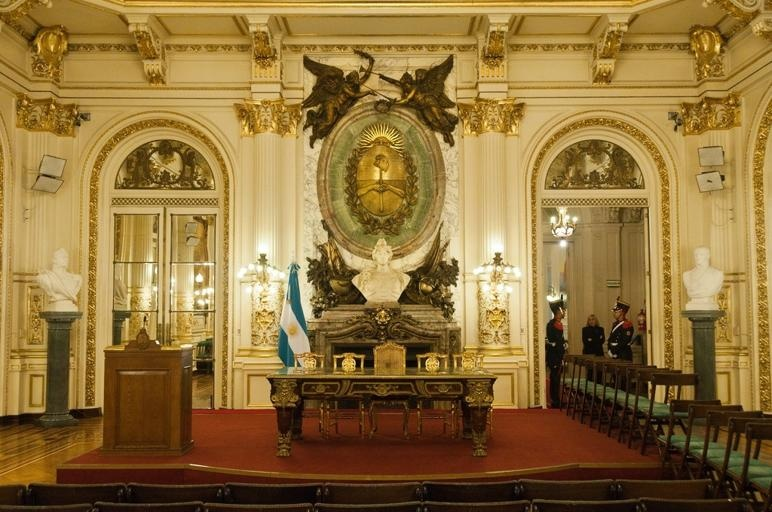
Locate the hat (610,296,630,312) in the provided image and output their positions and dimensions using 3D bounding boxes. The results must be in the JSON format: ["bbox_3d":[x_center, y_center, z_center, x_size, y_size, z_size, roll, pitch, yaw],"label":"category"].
[{"bbox_3d":[5.372,1.105,19.475,0.458,0.355,0.327,-6,3,-3],"label":"hat"}]

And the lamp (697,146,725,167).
[{"bbox_3d":[6.037,-1.857,15.729,0.471,0.399,0.397,-2,-6,17],"label":"lamp"}]

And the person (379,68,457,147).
[{"bbox_3d":[0.651,-2.900,16.331,1.427,1.318,0.380,-4,9,11],"label":"person"}]

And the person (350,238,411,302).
[{"bbox_3d":[-0.108,0.317,16.039,1.203,1.310,0.462,0,-8,0],"label":"person"}]

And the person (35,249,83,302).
[{"bbox_3d":[-5.823,0.411,15.079,0.705,1.042,0.270,2,-6,-22],"label":"person"}]

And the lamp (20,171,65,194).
[{"bbox_3d":[-6.388,-1.372,15.785,0.455,0.286,0.463,9,6,-41],"label":"lamp"}]

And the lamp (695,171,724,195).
[{"bbox_3d":[6.018,-1.404,15.697,0.539,0.406,0.351,0,-6,3],"label":"lamp"}]

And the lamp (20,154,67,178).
[{"bbox_3d":[-6.327,-1.636,15.783,0.520,0.343,0.545,3,-3,-37],"label":"lamp"}]

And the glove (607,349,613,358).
[{"bbox_3d":[4.409,1.935,16.657,0.125,0.098,0.097,-1,3,-11],"label":"glove"}]

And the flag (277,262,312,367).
[{"bbox_3d":[-1.649,1.044,15.412,0.447,1.886,0.569,-4,-7,34],"label":"flag"}]
